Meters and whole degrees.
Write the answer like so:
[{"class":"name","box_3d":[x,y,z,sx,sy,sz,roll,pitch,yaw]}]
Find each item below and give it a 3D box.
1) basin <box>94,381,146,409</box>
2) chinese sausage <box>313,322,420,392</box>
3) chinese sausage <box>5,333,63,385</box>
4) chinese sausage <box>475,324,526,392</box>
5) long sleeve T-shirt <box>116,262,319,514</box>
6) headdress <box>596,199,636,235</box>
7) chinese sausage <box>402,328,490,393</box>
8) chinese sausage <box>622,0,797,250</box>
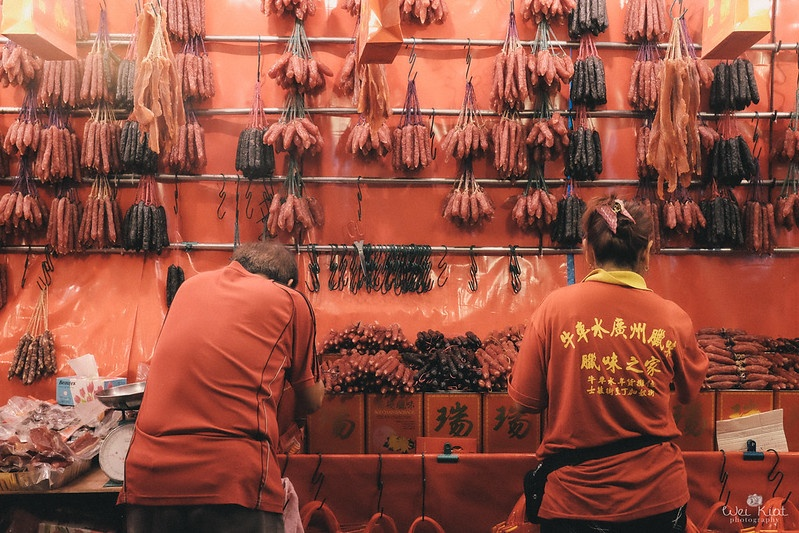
[{"class":"basin","box_3d":[-2.145,1.005,8.672,0.303,0.098,0.312,2,8,0]},{"class":"chinese sausage","box_3d":[-0.244,0.761,9.325,0.793,0.601,0.604,-1,-5,-5]},{"class":"chinese sausage","box_3d":[-3.150,0.781,9.664,0.354,0.463,0.137,0,-13,0]},{"class":"chinese sausage","box_3d":[0.850,0.761,9.342,0.287,0.123,0.553,-36,16,16]},{"class":"long sleeve T-shirt","box_3d":[-1.270,0.872,8.024,1.318,1.748,0.312,0,-5,-15]},{"class":"headdress","box_3d":[1.528,-0.377,8.057,0.206,0.251,0.078,-27,-14,-1]},{"class":"chinese sausage","box_3d":[0.374,0.789,9.270,0.498,0.468,0.222,1,-48,3]},{"class":"chinese sausage","box_3d":[2.520,-1.277,9.570,1.287,1.949,0.491,0,-1,24]}]
